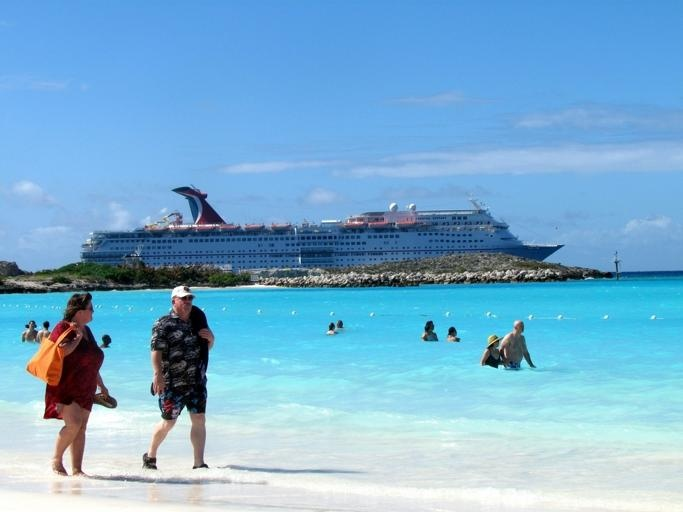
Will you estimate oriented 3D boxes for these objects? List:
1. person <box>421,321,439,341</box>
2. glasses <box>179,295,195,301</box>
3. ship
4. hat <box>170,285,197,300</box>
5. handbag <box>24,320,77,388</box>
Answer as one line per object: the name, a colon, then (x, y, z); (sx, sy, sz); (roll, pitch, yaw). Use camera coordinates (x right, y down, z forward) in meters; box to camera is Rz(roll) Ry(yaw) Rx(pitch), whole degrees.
person: (2.680, 2.313, 37.182); (0.512, 0.638, 0.778); (-4, -1, 20)
glasses: (-2.897, 0.780, 22.597); (0.207, 0.083, 0.296); (1, -5, -18)
ship: (-0.684, -1.010, 115.361); (47.669, 8.055, 8.330); (-1, 4, 4)
hat: (-3.001, 0.690, 22.782); (0.411, 0.240, 0.516); (2, -6, -26)
handbag: (-5.393, 1.843, 22.476); (0.788, 1.140, 0.370); (4, 11, 20)
